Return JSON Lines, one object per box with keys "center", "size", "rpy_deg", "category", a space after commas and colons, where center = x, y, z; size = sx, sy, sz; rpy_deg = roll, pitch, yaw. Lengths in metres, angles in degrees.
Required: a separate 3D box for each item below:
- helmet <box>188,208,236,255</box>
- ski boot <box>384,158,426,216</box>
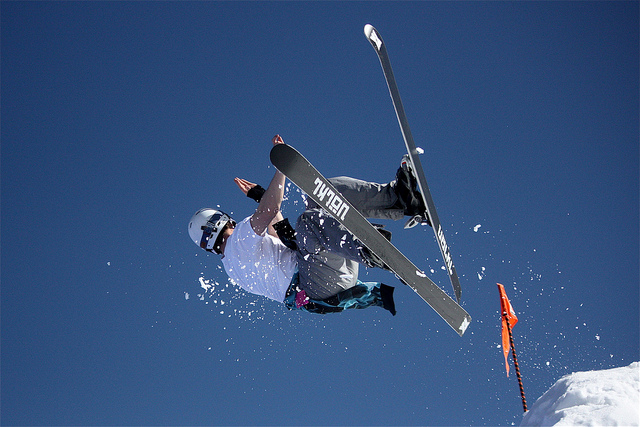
{"center": [-1.071, 0.155, 7.830], "size": [0.483, 0.415, 0.492], "rpy_deg": [-10, 90, 13], "category": "helmet"}
{"center": [0.807, -0.234, 7.037], "size": [0.332, 0.320, 0.418], "rpy_deg": [11, 74, 7], "category": "ski boot"}
